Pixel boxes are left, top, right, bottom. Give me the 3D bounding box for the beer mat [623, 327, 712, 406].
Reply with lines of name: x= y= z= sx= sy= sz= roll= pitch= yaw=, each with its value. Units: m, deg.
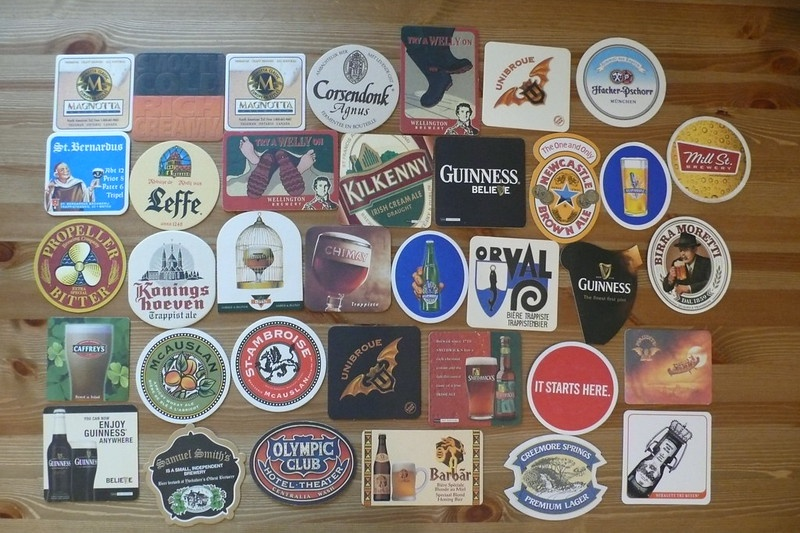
beer mat: x=0.947 y=0.355 z=3.676 sx=0.304 sy=0.093 sz=0.248 roll=1 pitch=70 yaw=0
